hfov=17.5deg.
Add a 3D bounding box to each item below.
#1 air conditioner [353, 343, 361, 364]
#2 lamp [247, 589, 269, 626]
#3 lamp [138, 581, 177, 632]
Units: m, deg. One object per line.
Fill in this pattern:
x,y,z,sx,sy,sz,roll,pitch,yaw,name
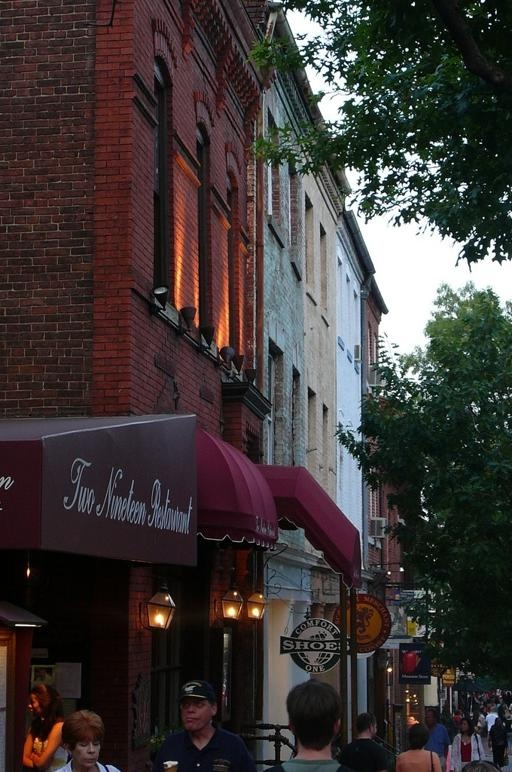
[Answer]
2.174,-0.701,36.040,0.110,0.368,0.384,-1,-3,7,air conditioner
-0.009,2.561,19.276,0.283,0.503,0.318,1,0,-7,lamp
-0.856,1.886,14.347,0.302,0.523,0.328,-2,-10,14,lamp
